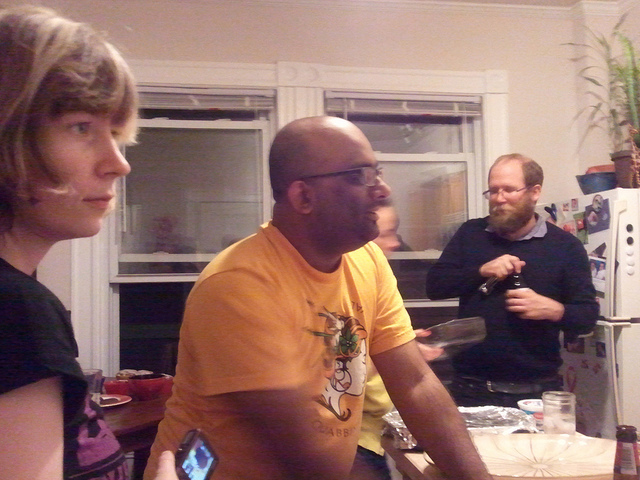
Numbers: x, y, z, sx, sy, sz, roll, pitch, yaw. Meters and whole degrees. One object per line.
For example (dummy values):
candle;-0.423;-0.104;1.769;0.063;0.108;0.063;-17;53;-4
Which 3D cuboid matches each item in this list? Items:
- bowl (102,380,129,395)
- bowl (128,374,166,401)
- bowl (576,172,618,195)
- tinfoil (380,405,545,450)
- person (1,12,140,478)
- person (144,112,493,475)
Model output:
bowl;-0.881;0.637;2.596;0.094;0.064;0.125;1;-3;-33
bowl;-0.742;0.630;2.560;0.181;0.054;0.123;0;-7;-3
bowl;1.588;-0.327;3.460;0.221;0.058;0.164;0;-4;-10
tinfoil;0.442;0.615;1.925;0.383;0.063;0.324;5;-34;-23
person;-0.447;0.023;1.082;0.165;0.841;0.277;-3;-4;19
person;-0.007;0.158;1.505;0.689;0.911;0.361;0;-4;-20
